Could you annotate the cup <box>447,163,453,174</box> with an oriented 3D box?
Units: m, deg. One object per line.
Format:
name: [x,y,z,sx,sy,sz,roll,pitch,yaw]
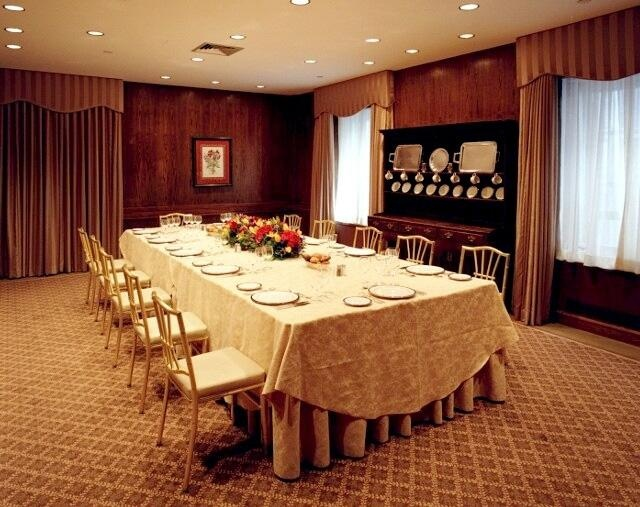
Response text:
cup: [1.696,-1.090,6.313,0.083,0.134,0.178,4,14,15]

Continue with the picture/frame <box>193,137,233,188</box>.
picture/frame: [-1.912,-1.626,8.720,0.692,0.983,0.055,-2,-19,-13]
